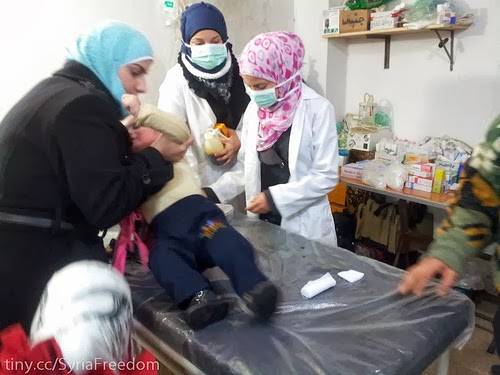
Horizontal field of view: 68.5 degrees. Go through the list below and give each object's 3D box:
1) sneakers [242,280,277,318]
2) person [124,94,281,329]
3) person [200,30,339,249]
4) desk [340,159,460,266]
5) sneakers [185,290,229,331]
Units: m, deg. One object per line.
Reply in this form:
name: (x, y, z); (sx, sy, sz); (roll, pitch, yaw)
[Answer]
sneakers: (0.048, 0.445, 1.454); (0.099, 0.051, 0.133); (-4, 44, -5)
person: (-0.316, 0.048, 1.692); (0.433, 0.444, 1.133); (-26, 41, -13)
person: (0.135, -0.027, 2.425); (0.860, 1.804, 0.718); (-1, 18, 16)
desk: (1.383, 0.265, 3.450); (0.847, 0.795, 1.018); (-29, 42, -35)
sneakers: (-0.167, 0.459, 1.430); (0.154, 0.100, 0.104); (-11, 28, -33)
